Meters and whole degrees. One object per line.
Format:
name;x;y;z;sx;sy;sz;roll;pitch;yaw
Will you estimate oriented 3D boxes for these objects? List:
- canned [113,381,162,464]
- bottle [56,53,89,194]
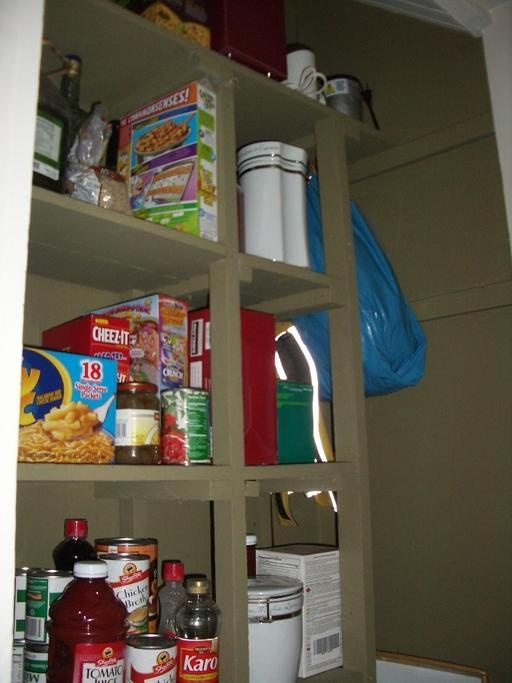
canned;-0.196;0.133;1.015;0.075;0.132;0.035;3;-13;-24
bottle;-0.340;-0.396;1.141;0.047;0.335;0.240;1;-12;-16
